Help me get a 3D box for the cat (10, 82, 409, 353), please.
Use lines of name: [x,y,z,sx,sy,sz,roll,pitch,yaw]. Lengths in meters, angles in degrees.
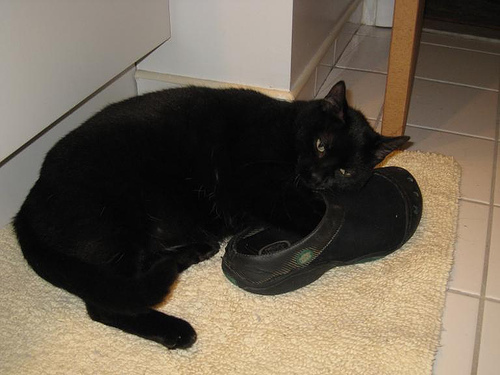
cat: [-0.121,-0.008,1.460,1.102,0.448,0.644,-37,63,-21]
